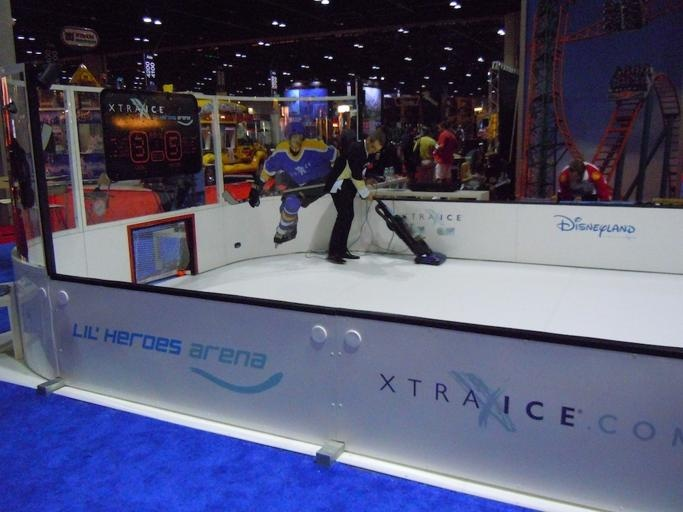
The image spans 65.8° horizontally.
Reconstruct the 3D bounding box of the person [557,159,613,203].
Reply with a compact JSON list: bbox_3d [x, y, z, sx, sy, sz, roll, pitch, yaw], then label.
[{"bbox_3d":[2.910,-0.888,6.358,0.439,0.326,0.757,-3,6,31],"label":"person"}]

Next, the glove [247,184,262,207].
[{"bbox_3d":[-1.087,-0.748,6.573,0.140,0.263,0.089,6,6,-1],"label":"glove"}]

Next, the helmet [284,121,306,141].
[{"bbox_3d":[-0.561,-1.537,6.510,0.186,0.233,0.236,-4,1,-43],"label":"helmet"}]

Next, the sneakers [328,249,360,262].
[{"bbox_3d":[0.042,0.015,6.749,0.418,0.192,0.160,-3,13,-13],"label":"sneakers"}]
